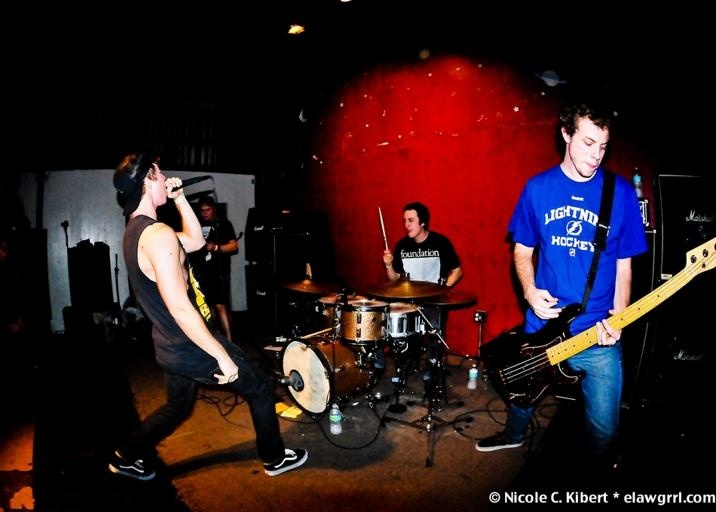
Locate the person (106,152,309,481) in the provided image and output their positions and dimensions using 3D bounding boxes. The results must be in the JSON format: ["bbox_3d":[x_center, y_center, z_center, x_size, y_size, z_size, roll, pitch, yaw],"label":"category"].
[{"bbox_3d":[-1.472,0.575,4.826,1.459,2.901,0.856,-1,6,13],"label":"person"}]

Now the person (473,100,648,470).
[{"bbox_3d":[1.769,0.191,4.483,1.004,2.829,0.478,1,7,27],"label":"person"}]

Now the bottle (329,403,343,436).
[{"bbox_3d":[-0.228,1.628,5.648,0.143,0.305,0.231,-3,6,-4],"label":"bottle"}]

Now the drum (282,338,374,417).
[{"bbox_3d":[-0.442,1.231,5.860,0.799,0.794,0.876,11,11,44],"label":"drum"}]

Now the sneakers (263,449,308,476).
[{"bbox_3d":[-0.646,1.885,5.130,0.419,0.176,0.170,-12,17,-32],"label":"sneakers"}]

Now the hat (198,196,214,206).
[{"bbox_3d":[-2.177,-0.796,7.967,0.140,0.144,0.141,-7,9,-22],"label":"hat"}]

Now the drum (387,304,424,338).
[{"bbox_3d":[0.476,0.695,5.815,0.345,0.244,0.354,-3,8,0],"label":"drum"}]

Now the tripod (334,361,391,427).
[{"bbox_3d":[0.059,1.473,6.051,0.535,0.659,0.518,-1,-7,-13],"label":"tripod"}]

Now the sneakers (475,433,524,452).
[{"bbox_3d":[1.316,1.768,5.314,0.531,0.204,0.186,0,-6,1],"label":"sneakers"}]

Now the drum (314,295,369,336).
[{"bbox_3d":[-0.284,0.596,5.946,0.412,0.269,0.423,-1,4,0],"label":"drum"}]

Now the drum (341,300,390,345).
[{"bbox_3d":[0.069,0.670,5.629,0.423,0.309,0.423,1,0,0],"label":"drum"}]

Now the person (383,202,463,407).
[{"bbox_3d":[0.708,0.548,6.880,0.935,2.545,0.831,10,28,16],"label":"person"}]
